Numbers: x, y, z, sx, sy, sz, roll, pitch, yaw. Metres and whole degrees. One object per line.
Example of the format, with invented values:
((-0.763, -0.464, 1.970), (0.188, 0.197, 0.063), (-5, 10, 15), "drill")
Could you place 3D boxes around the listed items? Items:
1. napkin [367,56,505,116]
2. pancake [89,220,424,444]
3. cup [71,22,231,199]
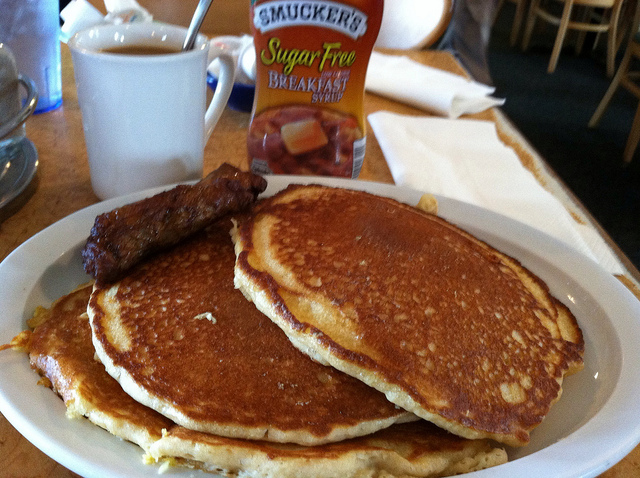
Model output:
((0.330, -0.470, 1.781), (0.360, 0.082, 0.212), (35, 46, 25), "napkin")
((-0.131, 0.139, 0.963), (0.472, 0.623, 0.092), (-13, 51, -23), "pancake")
((-0.328, -0.321, 1.257), (0.345, 0.333, 0.238), (-18, 42, -33), "cup")
